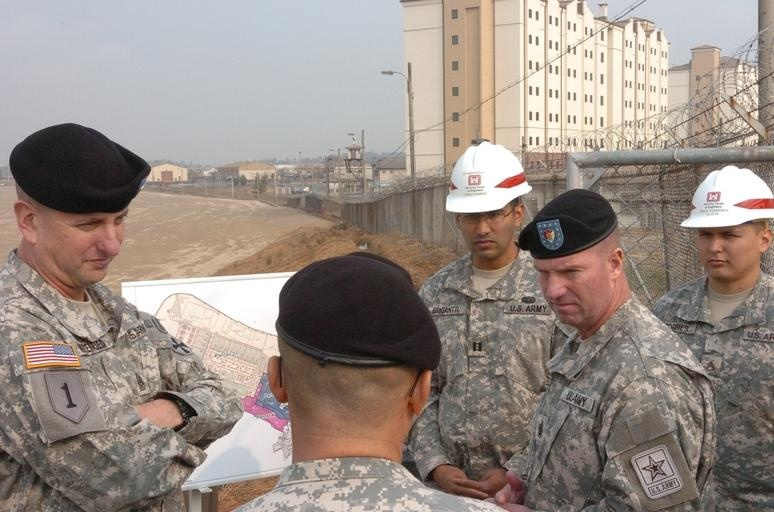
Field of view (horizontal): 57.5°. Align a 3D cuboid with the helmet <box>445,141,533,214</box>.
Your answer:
[{"bbox_3d":[0.719,-0.566,5.073,0.464,0.362,0.610,0,13,26],"label":"helmet"}]

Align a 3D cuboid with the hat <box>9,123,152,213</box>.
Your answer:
[{"bbox_3d":[-1.618,-0.430,3.606,0.545,0.221,0.441,32,40,6],"label":"hat"}]
